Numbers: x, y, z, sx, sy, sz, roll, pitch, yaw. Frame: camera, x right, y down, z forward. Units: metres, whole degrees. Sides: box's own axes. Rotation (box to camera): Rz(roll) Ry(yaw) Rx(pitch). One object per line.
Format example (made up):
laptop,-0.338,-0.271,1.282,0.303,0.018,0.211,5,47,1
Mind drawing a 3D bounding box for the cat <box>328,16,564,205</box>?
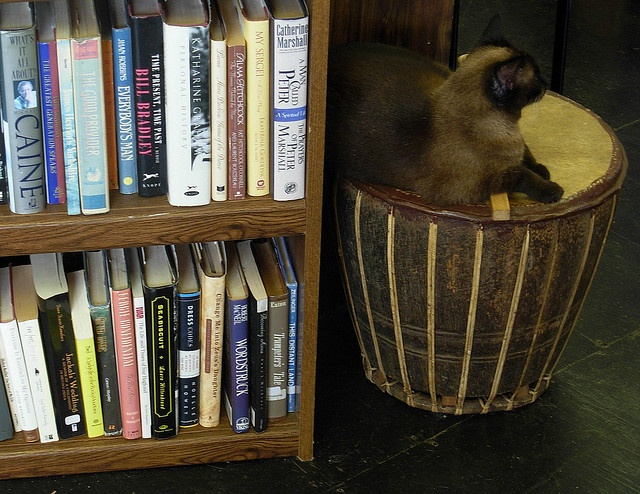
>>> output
cat,0.245,-0.326,1.466,0.479,0.375,0.506,-1,22,1
